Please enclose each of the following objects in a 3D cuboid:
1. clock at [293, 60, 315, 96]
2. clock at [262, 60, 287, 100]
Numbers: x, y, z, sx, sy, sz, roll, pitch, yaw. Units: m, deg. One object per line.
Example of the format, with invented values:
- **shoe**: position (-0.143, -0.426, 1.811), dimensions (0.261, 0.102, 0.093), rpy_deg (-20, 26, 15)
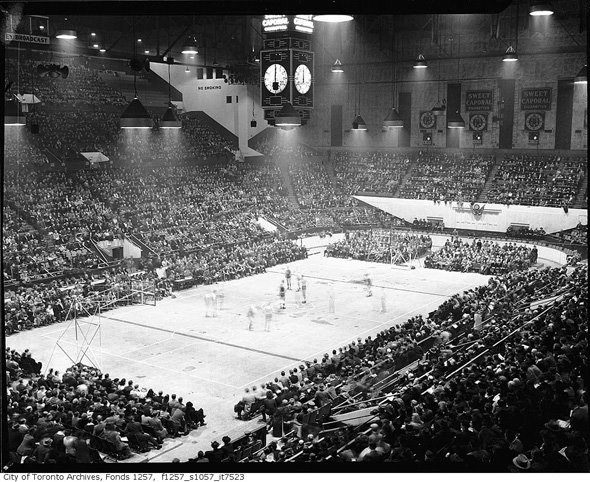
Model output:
- **clock**: position (0.360, -7.584, 27.833), dimensions (1.085, 1.396, 0.150), rpy_deg (-3, 7, -44)
- **clock**: position (-0.905, -7.614, 27.763), dimensions (1.696, 1.759, 0.073), rpy_deg (10, 21, 38)
